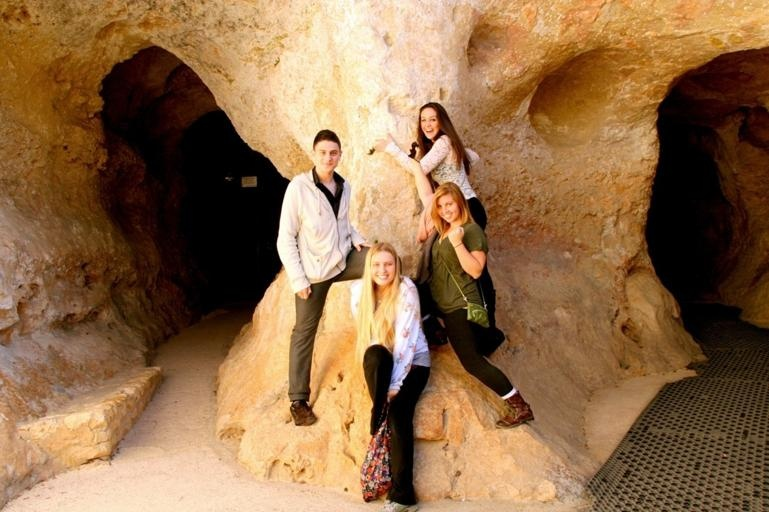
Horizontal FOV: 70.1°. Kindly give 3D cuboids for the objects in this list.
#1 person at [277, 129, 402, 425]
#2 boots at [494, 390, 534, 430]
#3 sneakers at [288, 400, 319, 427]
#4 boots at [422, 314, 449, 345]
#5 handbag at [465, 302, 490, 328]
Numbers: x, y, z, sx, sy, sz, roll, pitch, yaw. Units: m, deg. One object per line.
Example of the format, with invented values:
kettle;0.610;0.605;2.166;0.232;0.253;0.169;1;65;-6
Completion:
person;-0.382;0.158;4.432;0.972;2.221;0.626;-1;7;-10
boots;0.958;1.173;4.158;0.309;0.229;0.133;-11;-4;-15
sneakers;-0.643;1.261;4.437;0.229;0.232;0.162;-17;-9;-27
boots;0.373;0.601;4.493;0.161;0.129;0.305;-27;2;12
handbag;0.685;0.443;4.113;0.170;0.123;0.039;18;-16;-17
